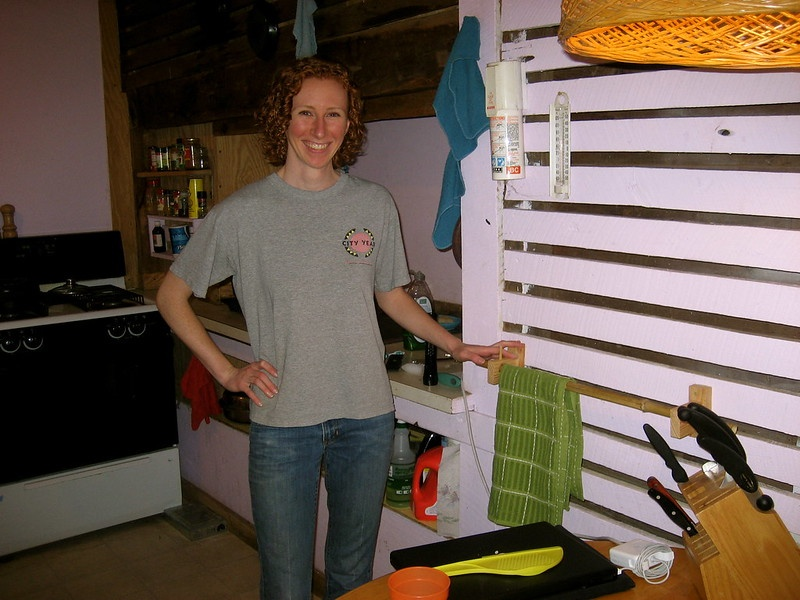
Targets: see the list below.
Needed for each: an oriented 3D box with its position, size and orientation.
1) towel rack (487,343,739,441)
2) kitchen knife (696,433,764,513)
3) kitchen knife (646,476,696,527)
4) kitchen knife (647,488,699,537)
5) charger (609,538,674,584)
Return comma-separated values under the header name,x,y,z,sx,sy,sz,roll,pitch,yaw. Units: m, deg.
name,x,y,z,sx,sy,sz,roll,pitch,yaw
towel rack,0.549,0.246,1.669,0.149,0.132,0.643,1,10,-42
kitchen knife,0.625,0.321,1.068,0.140,0.098,0.097,10,8,22
kitchen knife,0.559,0.423,1.183,0.029,0.058,0.170,30,19,-5
kitchen knife,0.557,0.436,1.156,0.020,0.047,0.128,40,-1,-20
charger,0.539,0.569,1.254,0.079,0.045,0.105,-4,8,-23
